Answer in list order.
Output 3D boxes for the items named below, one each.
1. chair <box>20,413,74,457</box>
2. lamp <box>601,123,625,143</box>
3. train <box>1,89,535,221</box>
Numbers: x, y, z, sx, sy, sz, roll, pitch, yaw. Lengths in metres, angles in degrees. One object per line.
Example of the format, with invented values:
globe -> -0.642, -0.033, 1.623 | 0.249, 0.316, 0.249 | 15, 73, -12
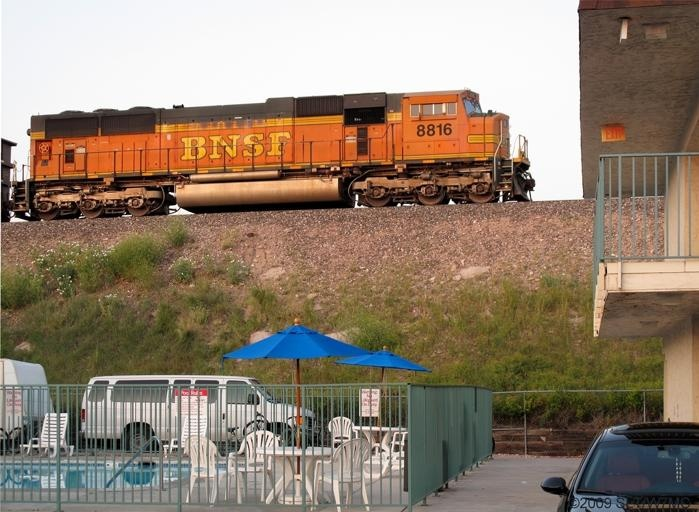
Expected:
chair -> -6.076, 3.709, 26.781 | 0.921, 1.241, 1.765 | -1, -5, 5
lamp -> 5.614, -2.667, 28.101 | 0.378, 0.365, 0.399 | 1, 3, 14
train -> -2.111, -3.564, 47.163 | 19.384, 5.114, 4.764 | 0, 4, 8
